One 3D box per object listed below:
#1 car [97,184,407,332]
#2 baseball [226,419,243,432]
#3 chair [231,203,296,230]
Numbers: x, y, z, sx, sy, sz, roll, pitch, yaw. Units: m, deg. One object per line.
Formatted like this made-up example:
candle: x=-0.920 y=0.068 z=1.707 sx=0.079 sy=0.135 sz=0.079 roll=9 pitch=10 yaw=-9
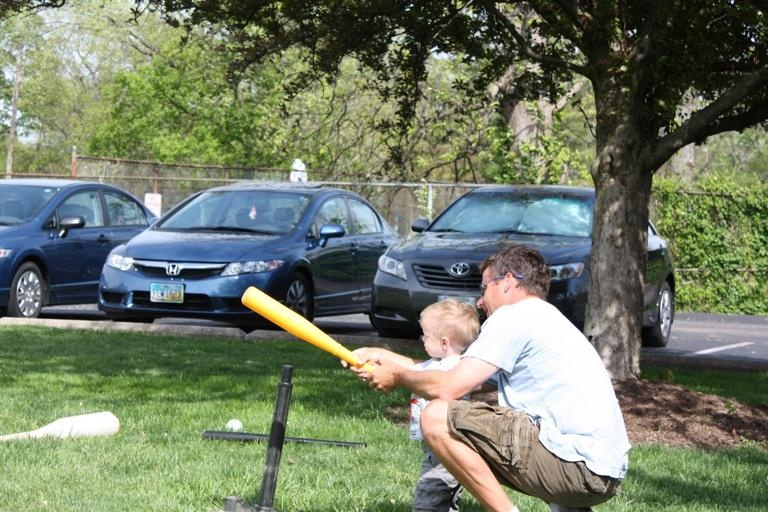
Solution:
car: x=-1.614 y=-0.022 z=13.459 sx=1.998 sy=1.362 sz=3.527 roll=-1 pitch=-4 yaw=28
baseball: x=-1.333 y=1.492 z=8.177 sx=0.099 sy=0.087 sz=0.100 roll=-6 pitch=0 yaw=18
chair: x=-1.645 y=-0.529 z=13.375 sx=0.390 sy=0.294 sz=0.616 roll=3 pitch=1 yaw=27
